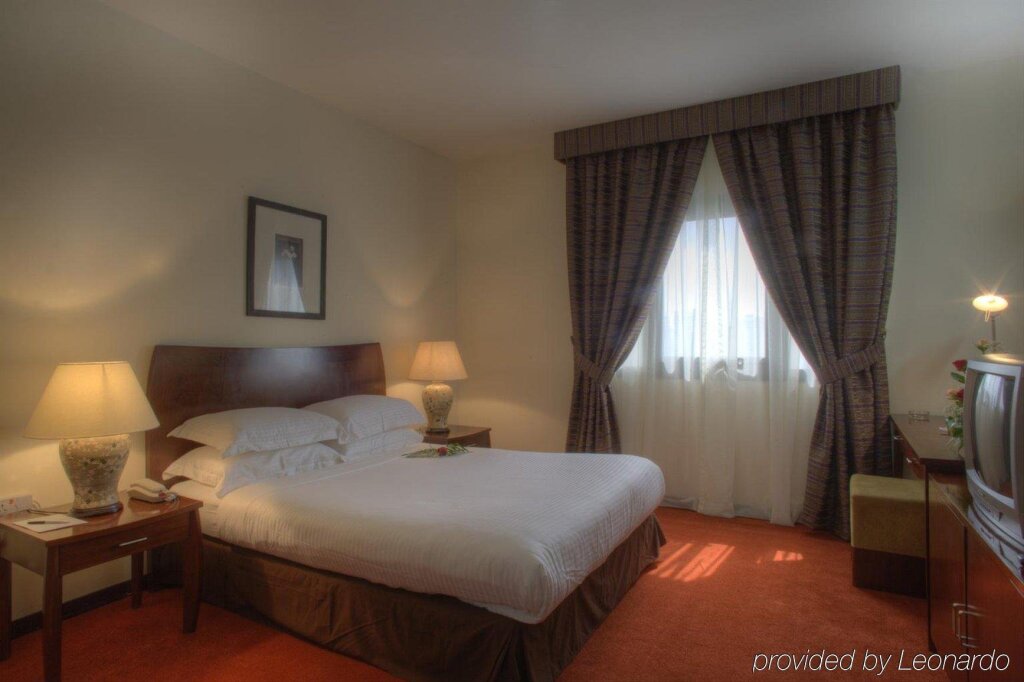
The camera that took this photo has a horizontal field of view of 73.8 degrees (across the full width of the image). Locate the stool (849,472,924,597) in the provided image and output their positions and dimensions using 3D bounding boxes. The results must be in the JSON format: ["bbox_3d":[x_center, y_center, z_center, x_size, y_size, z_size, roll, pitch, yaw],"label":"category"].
[{"bbox_3d":[2.727,1.268,4.903,0.574,0.845,1.110,-1,0,23],"label":"stool"}]

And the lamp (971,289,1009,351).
[{"bbox_3d":[3.539,-0.121,5.081,0.242,0.463,0.486,7,13,35],"label":"lamp"}]
